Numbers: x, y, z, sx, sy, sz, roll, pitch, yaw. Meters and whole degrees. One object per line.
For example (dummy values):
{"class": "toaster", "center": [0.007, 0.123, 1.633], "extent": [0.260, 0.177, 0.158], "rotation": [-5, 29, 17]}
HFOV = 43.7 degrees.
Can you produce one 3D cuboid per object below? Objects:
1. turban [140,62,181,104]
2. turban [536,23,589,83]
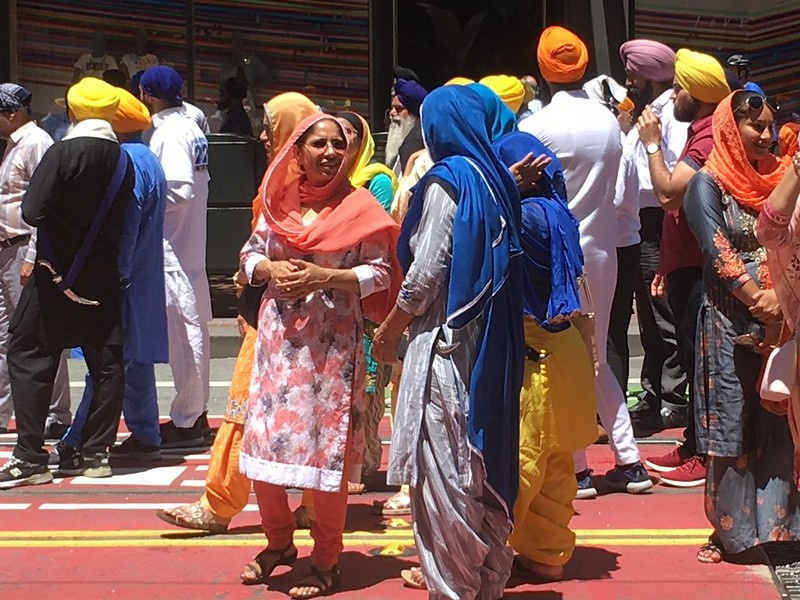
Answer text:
{"class": "turban", "center": [-1.843, -1.692, 7.797], "extent": [0.395, 0.284, 0.299], "rotation": [11, 20, 30]}
{"class": "turban", "center": [1.078, -1.623, 6.707], "extent": [0.326, 0.395, 0.261], "rotation": [-6, -26, -10]}
